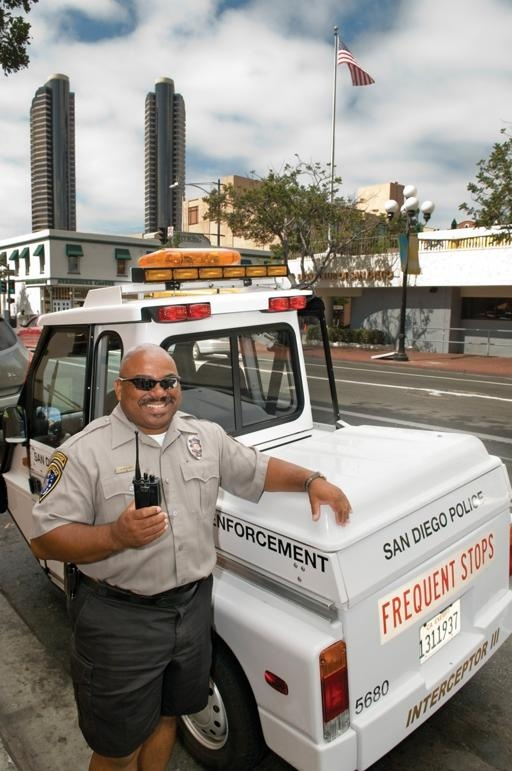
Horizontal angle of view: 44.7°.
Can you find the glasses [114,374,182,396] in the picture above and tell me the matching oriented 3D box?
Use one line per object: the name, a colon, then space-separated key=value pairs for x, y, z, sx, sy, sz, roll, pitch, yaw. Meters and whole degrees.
glasses: x=-0.362 y=-0.009 z=2.063 sx=0.202 sy=0.056 sz=0.079 roll=-4 pitch=10 yaw=1
